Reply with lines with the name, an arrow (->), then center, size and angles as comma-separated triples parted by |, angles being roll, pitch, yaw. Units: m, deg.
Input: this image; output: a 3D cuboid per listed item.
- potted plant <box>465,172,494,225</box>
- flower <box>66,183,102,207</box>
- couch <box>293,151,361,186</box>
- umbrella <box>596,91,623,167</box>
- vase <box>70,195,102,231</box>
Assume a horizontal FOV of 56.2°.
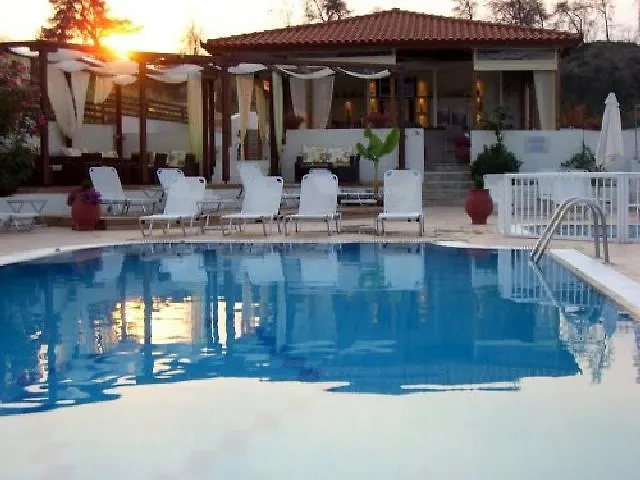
potted plant -> 3.299, -0.844, 12.535 | 0.491, 1.043, 0.685 | 4, 8, 36
flower -> -4.860, -0.967, 12.329 | 0.451, 0.505, 0.499 | 3, 5, -12
couch -> 0.165, -2.090, 18.323 | 1.938, 1.205, 0.662 | -1, -18, -3
umbrella -> 6.496, -2.518, 13.381 | 0.494, 1.623, 0.710 | 2, 7, 27
vase -> -4.942, -0.618, 12.538 | 0.597, 0.847, 0.673 | 0, -8, -13
